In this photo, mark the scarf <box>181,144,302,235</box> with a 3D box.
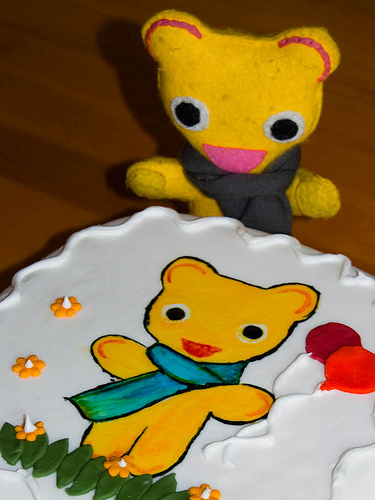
[{"bbox_3d":[0.138,-0.155,2.041,0.218,0.218,0.118,17,52,18],"label":"scarf"}]

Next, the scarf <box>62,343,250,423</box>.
[{"bbox_3d":[-0.066,0.281,1.713,0.366,0.043,0.126,-15,51,-14],"label":"scarf"}]
